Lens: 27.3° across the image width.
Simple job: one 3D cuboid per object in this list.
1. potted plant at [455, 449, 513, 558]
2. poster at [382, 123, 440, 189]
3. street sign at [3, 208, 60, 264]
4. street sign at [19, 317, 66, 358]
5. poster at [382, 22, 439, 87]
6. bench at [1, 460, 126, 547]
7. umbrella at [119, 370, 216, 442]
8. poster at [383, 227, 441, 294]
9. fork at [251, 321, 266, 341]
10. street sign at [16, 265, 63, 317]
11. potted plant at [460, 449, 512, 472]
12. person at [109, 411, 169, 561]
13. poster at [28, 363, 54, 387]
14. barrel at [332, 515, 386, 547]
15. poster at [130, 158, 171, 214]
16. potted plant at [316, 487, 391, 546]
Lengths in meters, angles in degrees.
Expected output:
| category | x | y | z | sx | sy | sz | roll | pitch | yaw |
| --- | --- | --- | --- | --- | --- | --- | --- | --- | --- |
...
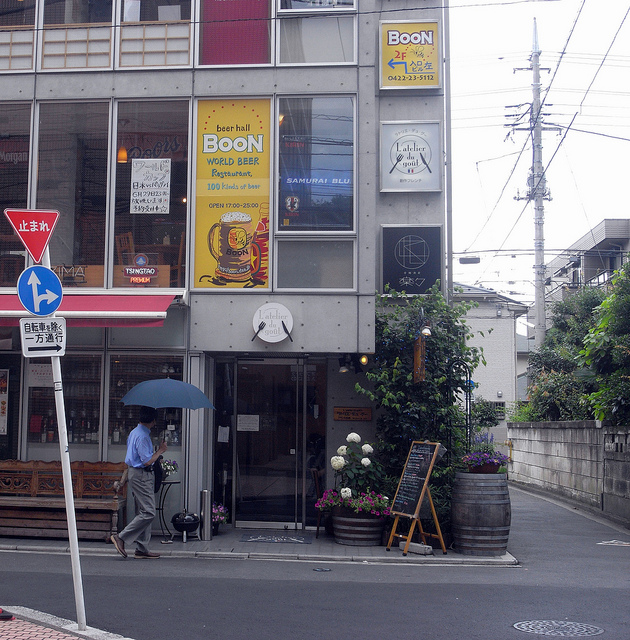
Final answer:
| category | x | y | z | sx | sy | sz | roll | pitch | yaw |
| --- | --- | --- | --- | --- | --- | --- | --- | --- | --- |
| potted plant | 2.514 | 2.774 | 19.363 | 1.115 | 1.962 | 1.214 | -1 | -8 | 5 |
| poster | 1.588 | -2.671 | 21.273 | 0.868 | 1.176 | 0.031 | 0 | -1 | 4 |
| street sign | -3.304 | -0.991 | 15.084 | 0.384 | 0.724 | 0.492 | -3 | -4 | 27 |
| street sign | -3.108 | 0.191 | 14.858 | 0.398 | 0.398 | 0.072 | 4 | -10 | -29 |
| poster | 1.606 | -4.319 | 21.271 | 0.924 | 1.113 | 0.075 | 0 | -7 | 2 |
| bench | -3.688 | 2.742 | 19.069 | 1.426 | 1.005 | 0.521 | 0 | -6 | 4 |
| umbrella | -2.132 | 1.095 | 18.716 | 1.273 | 0.430 | 0.713 | 1 | 4 | -10 |
| poster | 1.617 | -0.922 | 21.071 | 0.948 | 1.322 | 0.090 | 0 | -7 | 0 |
| fork | -0.867 | 0.176 | 20.064 | 0.066 | 0.400 | 0.057 | 35 | -9 | -3 |
| street sign | -3.166 | -0.336 | 14.941 | 0.487 | 0.592 | 0.219 | 0 | 4 | -21 |
| potted plant | 2.555 | 2.091 | 19.433 | 0.449 | 0.285 | 0.485 | 1 | -14 | 7 |
| person | -2.440 | 2.351 | 18.362 | 0.642 | 2.051 | 0.682 | 2 | 4 | 10 |
| poster | -4.283 | 0.883 | 20.378 | 0.428 | 0.432 | 0.049 | 9 | -6 | 1 |
| barrel | 0.687 | 3.221 | 19.582 | 0.530 | 0.372 | 0.478 | 8 | -13 | -26 |
| poster | -2.605 | -2.141 | 20.631 | 0.607 | 0.858 | 0.288 | 1 | 4 | -4 |
| potted plant | 0.637 | 2.940 | 19.765 | 0.995 | 0.824 | 0.750 | 6 | 6 | 9 |
